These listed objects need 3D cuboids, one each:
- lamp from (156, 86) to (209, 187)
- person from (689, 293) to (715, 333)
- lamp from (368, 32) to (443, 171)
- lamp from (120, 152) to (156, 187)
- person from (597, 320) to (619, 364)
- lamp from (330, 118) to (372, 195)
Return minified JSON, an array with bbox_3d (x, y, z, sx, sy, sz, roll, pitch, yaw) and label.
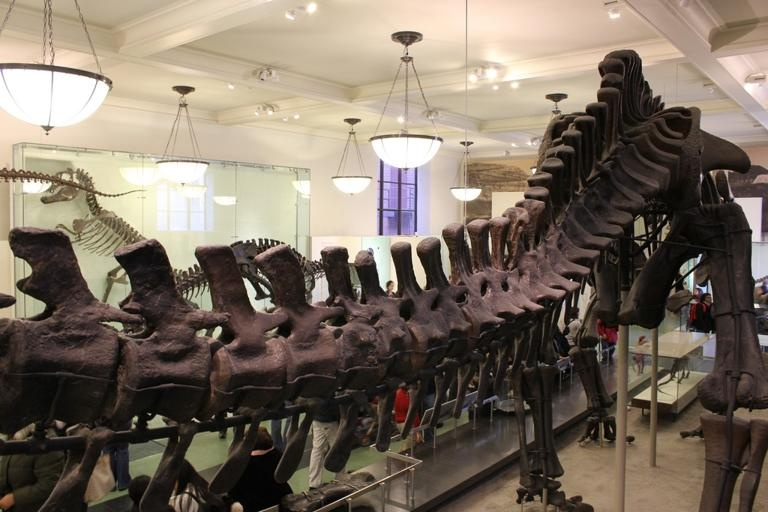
[{"bbox_3d":[-3.105,-1.854,9.099,0.770,1.410,0.724,2,8,-10],"label":"lamp"},{"bbox_3d":[5.317,0.941,9.910,0.359,0.647,0.834,-1,-3,27],"label":"person"},{"bbox_3d":[0.344,-2.068,7.887,1.135,1.742,1.108,-1,4,-32],"label":"lamp"},{"bbox_3d":[-3.748,-1.305,9.132,0.493,0.289,0.470,1,-5,-27],"label":"lamp"},{"bbox_3d":[3.902,1.550,10.281,0.272,0.777,1.707,-1,-2,20],"label":"person"},{"bbox_3d":[-0.609,-1.937,11.428,0.909,1.406,0.874,-2,7,-27],"label":"lamp"}]
